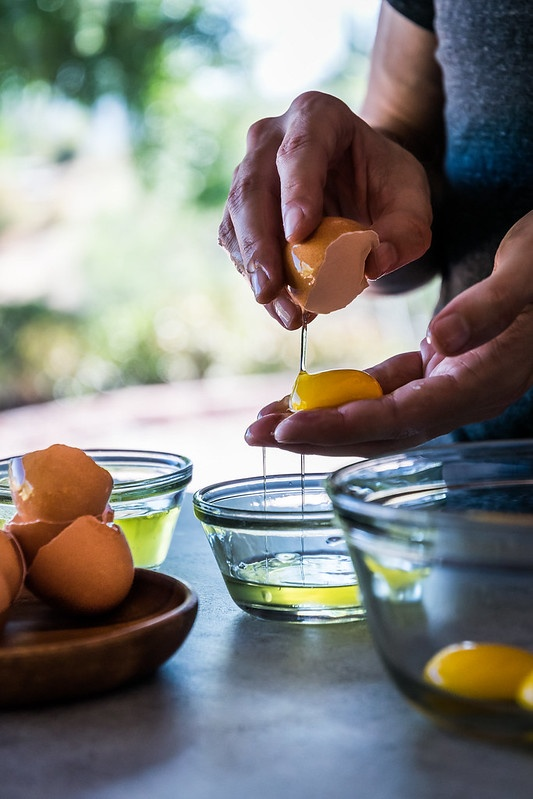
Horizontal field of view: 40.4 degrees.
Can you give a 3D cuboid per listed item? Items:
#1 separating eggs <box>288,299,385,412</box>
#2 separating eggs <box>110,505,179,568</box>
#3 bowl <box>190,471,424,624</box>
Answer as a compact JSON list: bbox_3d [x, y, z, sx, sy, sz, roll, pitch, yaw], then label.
[{"bbox_3d":[0.079,-0.043,0.941,0.106,0.139,0.058,-14,-15,1],"label":"separating eggs"},{"bbox_3d":[-0.146,0.173,0.905,0.084,0.059,0.083,-2,-2,5],"label":"separating eggs"},{"bbox_3d":[0.023,0.170,0.807,0.194,0.094,0.186,-4,0,0],"label":"bowl"}]
